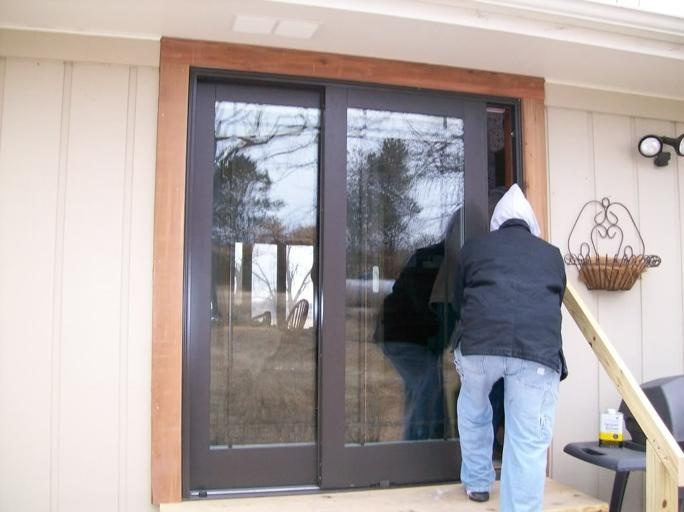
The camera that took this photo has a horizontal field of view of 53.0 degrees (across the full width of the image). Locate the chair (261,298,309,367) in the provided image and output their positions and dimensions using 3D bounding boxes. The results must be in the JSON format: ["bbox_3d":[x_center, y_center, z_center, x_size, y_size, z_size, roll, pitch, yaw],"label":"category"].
[{"bbox_3d":[-0.341,0.426,4.348,0.191,0.379,0.238,-1,-17,44],"label":"chair"}]

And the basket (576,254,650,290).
[{"bbox_3d":[1.873,0.114,4.819,0.493,0.252,0.407,1,7,22],"label":"basket"}]
